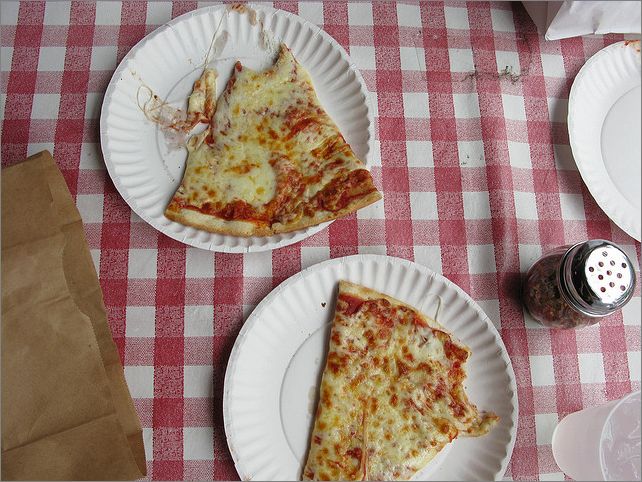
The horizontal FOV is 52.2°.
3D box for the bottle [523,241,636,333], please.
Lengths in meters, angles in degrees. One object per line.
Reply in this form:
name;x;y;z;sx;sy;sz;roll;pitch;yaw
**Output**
bottle;0.668;0.153;1.822;0.198;0.352;0.297;-5;81;6
